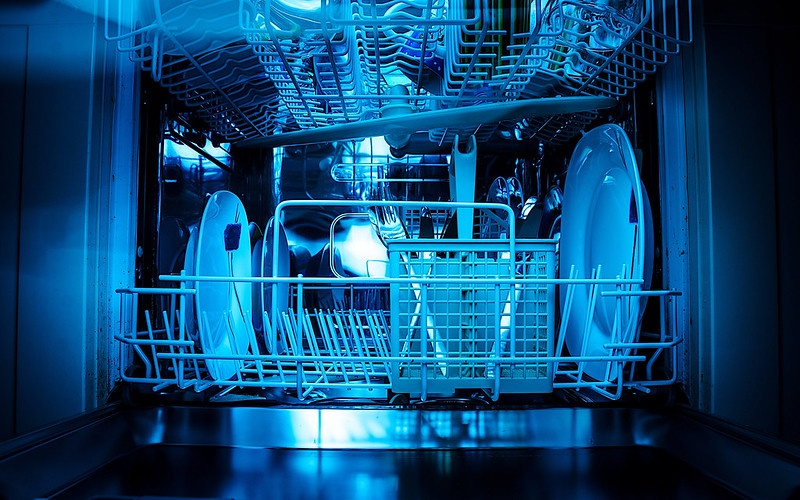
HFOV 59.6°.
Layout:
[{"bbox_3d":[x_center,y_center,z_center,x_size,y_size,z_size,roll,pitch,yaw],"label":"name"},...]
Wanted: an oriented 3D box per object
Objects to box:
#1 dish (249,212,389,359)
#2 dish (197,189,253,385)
[{"bbox_3d":[-0.211,0.058,1.709,0.272,0.382,0.092,0,-1,-2],"label":"dish"},{"bbox_3d":[-0.383,0.075,1.533,0.052,0.397,0.173,-3,-4,22],"label":"dish"}]
